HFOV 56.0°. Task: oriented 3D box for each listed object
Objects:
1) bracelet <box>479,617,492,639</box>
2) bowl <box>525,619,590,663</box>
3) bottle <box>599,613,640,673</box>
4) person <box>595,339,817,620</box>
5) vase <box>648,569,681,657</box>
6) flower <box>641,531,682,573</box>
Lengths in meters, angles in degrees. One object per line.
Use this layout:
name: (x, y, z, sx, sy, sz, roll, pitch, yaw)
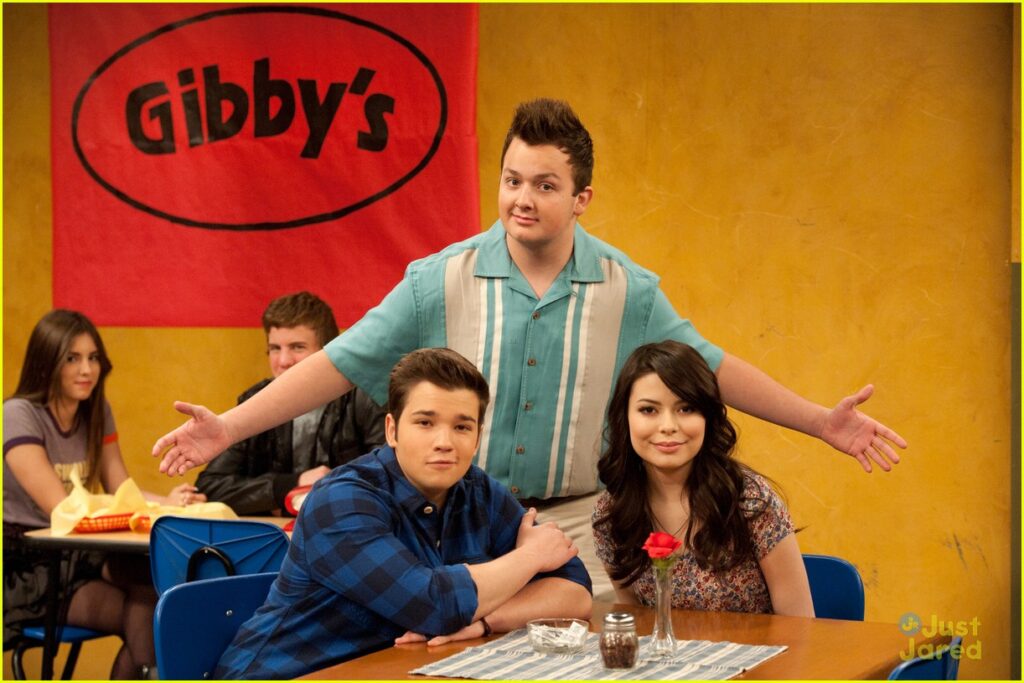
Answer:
bracelet: (-0.075, 0.854, 2.859, 0.037, 0.053, 0.025, 9, -2, 40)
bowl: (0.170, 0.835, 2.748, 0.254, 0.078, 0.112, -1, -4, -42)
bottle: (0.292, 0.812, 2.592, 0.120, 0.185, 0.129, 1, -6, 0)
person: (0.680, 0.737, 3.477, 0.732, 1.524, 0.476, -2, 10, 27)
vase: (0.446, 0.755, 2.824, 0.073, 0.222, 0.343, -3, -3, 9)
flower: (0.416, 0.619, 2.736, 0.115, 0.130, 0.122, 5, 11, 20)
